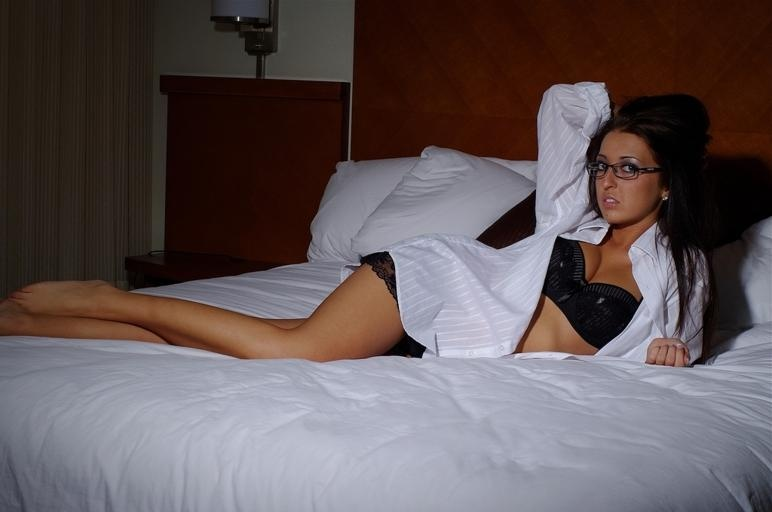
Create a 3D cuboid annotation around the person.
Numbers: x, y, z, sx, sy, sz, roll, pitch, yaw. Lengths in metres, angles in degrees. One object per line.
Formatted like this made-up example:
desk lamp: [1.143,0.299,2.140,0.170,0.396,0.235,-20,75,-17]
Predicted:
person: [0.050,0.065,2.495,2.046,0.946,1.219,-1,11,-1]
